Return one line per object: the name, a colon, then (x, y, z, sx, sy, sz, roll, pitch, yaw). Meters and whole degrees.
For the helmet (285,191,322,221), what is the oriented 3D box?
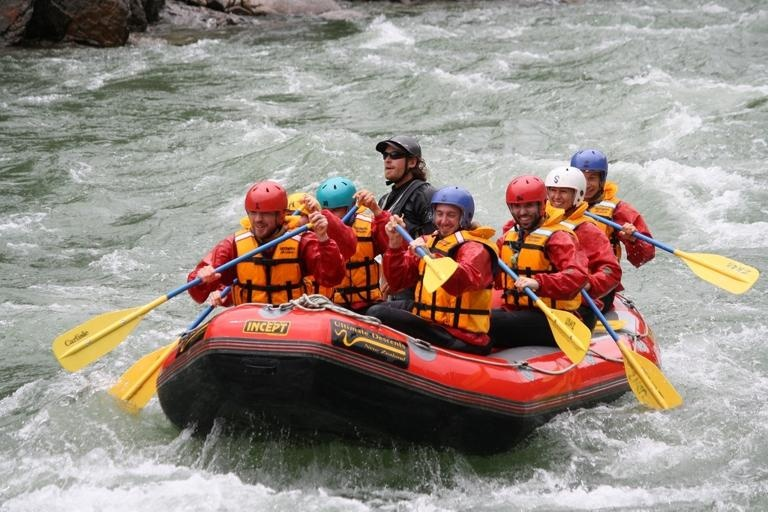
helmet: (-0.987, -0.590, 9.512, 0.508, 0.235, 0.335, 2, 17, 6)

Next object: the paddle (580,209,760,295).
paddle: (3.996, -0.006, 11.272, 3.052, 0.140, 0.561, 22, 74, 28)

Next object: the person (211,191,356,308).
person: (-1.067, -0.032, 9.080, 1.449, 0.601, 1.590, -9, 56, -5)

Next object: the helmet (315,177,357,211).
helmet: (-0.533, -0.720, 9.547, 0.351, 0.330, 0.458, -5, -14, 24)

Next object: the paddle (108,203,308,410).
paddle: (-2.101, 0.661, 9.543, 3.759, 0.532, 0.267, -43, -1, 2)

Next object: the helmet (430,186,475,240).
helmet: (0.748, -0.573, 9.065, 0.435, 0.439, 0.520, 6, 9, 23)

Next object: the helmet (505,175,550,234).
helmet: (1.697, -0.620, 9.535, 0.483, 0.544, 0.585, 0, 8, 30)

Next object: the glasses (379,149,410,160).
glasses: (0.130, -1.251, 9.985, 0.305, 0.118, 0.089, 4, 28, 9)

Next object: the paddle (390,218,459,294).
paddle: (0.437, 0.019, 8.856, 0.389, 0.128, 1.056, -40, 30, 0)
